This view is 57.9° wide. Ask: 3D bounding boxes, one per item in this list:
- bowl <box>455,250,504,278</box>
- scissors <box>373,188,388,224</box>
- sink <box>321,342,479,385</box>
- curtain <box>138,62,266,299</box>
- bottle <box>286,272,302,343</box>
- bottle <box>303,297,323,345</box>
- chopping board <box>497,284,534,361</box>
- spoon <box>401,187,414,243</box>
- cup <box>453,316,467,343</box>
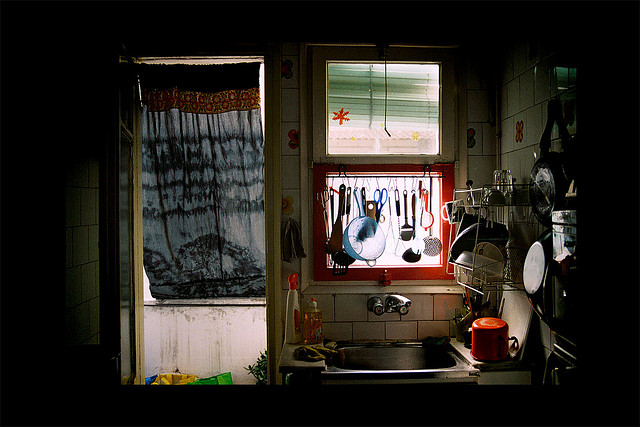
[{"bbox_3d":[0.650,0.206,2.391,0.202,0.111,0.147,-2,0,30],"label":"bowl"},{"bbox_3d":[0.290,-0.044,2.764,0.070,0.159,0.056,-2,0,5],"label":"scissors"},{"bbox_3d":[0.318,0.640,2.469,0.629,0.160,0.381,-2,0,-2],"label":"sink"},{"bbox_3d":[-0.636,-0.123,3.074,0.682,1.176,0.684,-2,0,-8],"label":"curtain"},{"bbox_3d":[-0.120,0.422,2.596,0.072,0.294,0.067,-2,0,0],"label":"bottle"},{"bbox_3d":[-0.034,0.479,2.591,0.087,0.198,0.084,-2,0,0],"label":"bottle"},{"bbox_3d":[0.820,0.457,2.457,0.096,0.315,0.260,-2,0,1],"label":"chopping board"},{"bbox_3d":[0.408,0.003,2.762,0.054,0.259,0.061,-2,0,-23],"label":"spoon"},{"bbox_3d":[0.645,0.521,2.647,0.054,0.120,0.070,-2,0,5],"label":"cup"}]
